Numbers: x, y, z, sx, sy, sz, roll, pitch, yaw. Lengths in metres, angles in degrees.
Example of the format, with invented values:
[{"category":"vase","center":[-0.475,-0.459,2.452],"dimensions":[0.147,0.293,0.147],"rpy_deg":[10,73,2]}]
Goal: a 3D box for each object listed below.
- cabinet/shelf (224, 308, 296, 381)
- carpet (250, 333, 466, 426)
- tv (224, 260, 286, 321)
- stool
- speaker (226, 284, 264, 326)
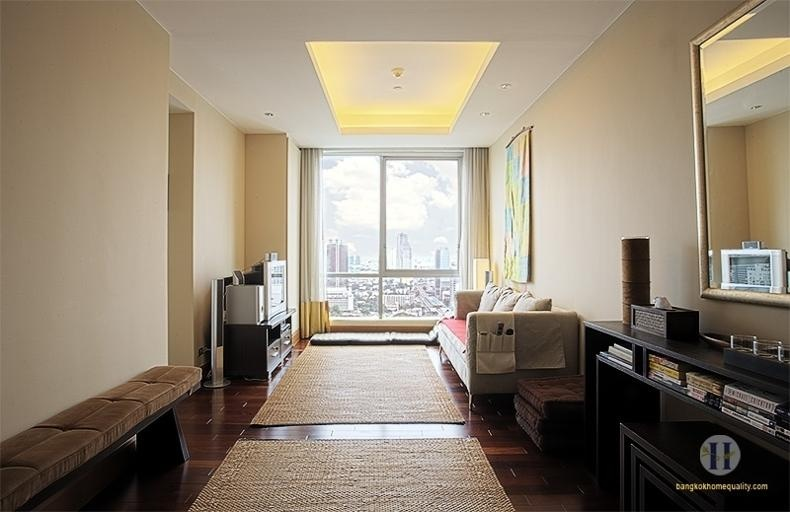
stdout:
[{"category":"cabinet/shelf","center":[-1.661,1.064,6.401],"dimensions":[0.586,0.558,1.603],"rpy_deg":[1,0,-4]},{"category":"carpet","center":[-0.338,1.373,5.527],"dimensions":[1.909,0.117,2.269],"rpy_deg":[1,7,-1]},{"category":"tv","center":[-1.660,0.406,6.085],"dimensions":[0.476,0.626,0.889],"rpy_deg":[-2,3,5]},{"category":"stool","center":[1.314,1.297,4.188],"dimensions":[0.532,0.420,0.599],"rpy_deg":[1,7,5]},{"category":"speaker","center":[-1.678,0.565,5.838],"dimensions":[0.438,0.413,0.442],"rpy_deg":[1,-1,-1]}]
